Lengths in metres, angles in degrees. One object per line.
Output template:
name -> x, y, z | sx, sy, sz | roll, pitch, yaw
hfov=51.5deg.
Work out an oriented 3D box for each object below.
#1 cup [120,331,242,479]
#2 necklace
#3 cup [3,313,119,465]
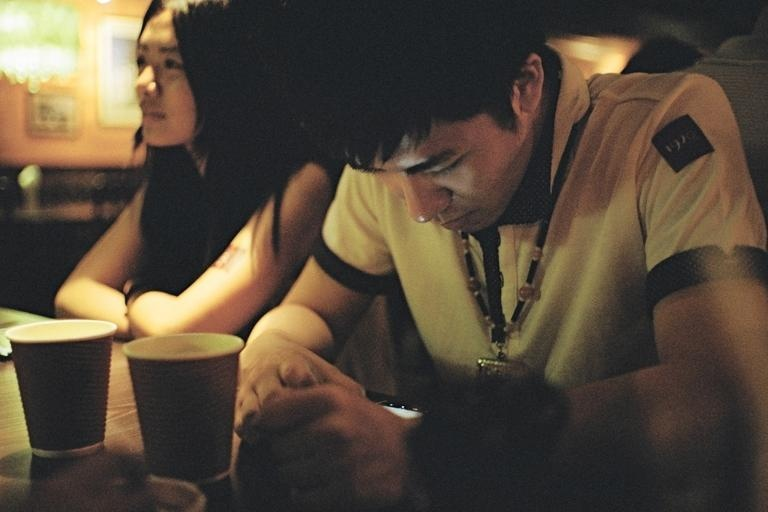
cup -> -0.291, 0.217, 1.251 | 0.207, 0.201, 0.209 | 0, 1, 0
necklace -> 0.209, -0.019, 1.356 | 0.139, 0.554, 0.033 | 4, 43, 13
cup -> -0.499, 0.205, 1.237 | 0.153, 0.205, 0.114 | 4, 25, -7
